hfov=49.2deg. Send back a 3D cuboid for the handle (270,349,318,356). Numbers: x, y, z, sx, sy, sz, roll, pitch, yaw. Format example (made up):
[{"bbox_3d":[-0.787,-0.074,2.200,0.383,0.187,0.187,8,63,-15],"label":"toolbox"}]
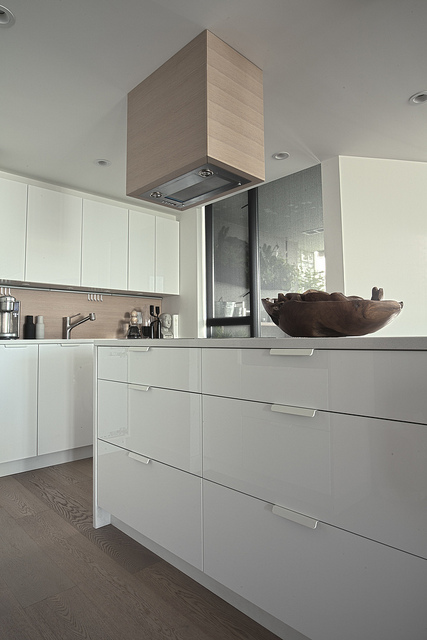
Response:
[{"bbox_3d":[0.211,0.087,1.264,0.018,0.016,0.107,29,-22,-34],"label":"handle"}]

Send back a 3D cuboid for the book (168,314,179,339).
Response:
[{"bbox_3d":[-0.399,0.057,4.741,0.104,0.233,0.133,-1,-2,0],"label":"book"}]

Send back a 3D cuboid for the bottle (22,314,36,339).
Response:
[{"bbox_3d":[-1.423,0.056,3.619,0.096,0.170,0.101,-1,-2,0],"label":"bottle"}]

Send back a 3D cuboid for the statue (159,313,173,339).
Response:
[{"bbox_3d":[-0.472,0.053,4.716,0.129,0.238,0.197,-1,-2,-16],"label":"statue"}]

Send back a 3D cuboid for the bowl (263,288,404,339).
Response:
[{"bbox_3d":[0.313,-0.021,1.407,0.315,0.145,0.428,-1,-1,-38],"label":"bowl"}]

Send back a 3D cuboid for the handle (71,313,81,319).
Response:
[{"bbox_3d":[-1.193,-0.037,4.050,0.071,0.019,0.012,-28,-24,-40],"label":"handle"}]

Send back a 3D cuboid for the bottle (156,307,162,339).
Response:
[{"bbox_3d":[-0.555,0.021,4.761,0.053,0.304,0.182,-1,-2,-11],"label":"bottle"}]

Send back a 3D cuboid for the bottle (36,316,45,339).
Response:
[{"bbox_3d":[-1.354,0.056,3.663,0.046,0.173,0.070,-1,-2,-4],"label":"bottle"}]

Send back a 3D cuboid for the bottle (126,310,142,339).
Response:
[{"bbox_3d":[-0.704,0.031,4.148,0.111,0.249,0.525,-1,-1,-10],"label":"bottle"}]
